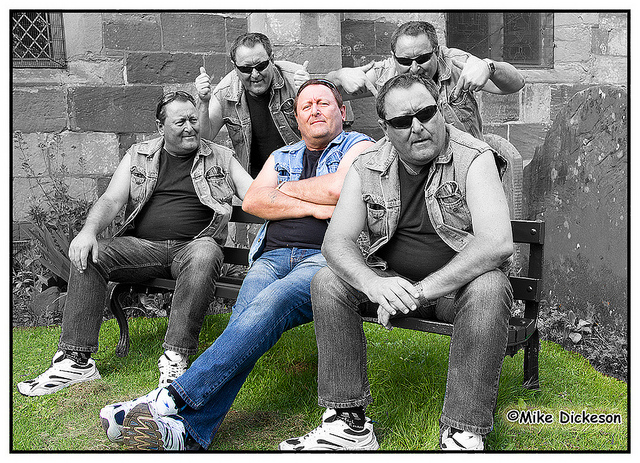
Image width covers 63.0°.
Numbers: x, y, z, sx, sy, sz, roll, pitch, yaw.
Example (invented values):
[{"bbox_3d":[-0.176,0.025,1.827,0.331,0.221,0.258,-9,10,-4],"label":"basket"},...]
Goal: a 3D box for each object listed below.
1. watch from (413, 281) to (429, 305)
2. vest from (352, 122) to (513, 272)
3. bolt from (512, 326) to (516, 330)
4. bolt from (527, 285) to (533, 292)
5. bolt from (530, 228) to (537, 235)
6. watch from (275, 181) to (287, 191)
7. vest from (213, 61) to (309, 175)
[{"bbox_3d":[0.537,0.335,2.840,0.041,0.113,0.082,-11,-7,-5],"label":"watch"},{"bbox_3d":[0.619,-0.168,2.997,0.924,0.930,0.528,-1,7,26],"label":"vest"},{"bbox_3d":[1.130,0.561,3.051,0.008,0.011,0.023,-2,-1,-21],"label":"bolt"},{"bbox_3d":[1.290,0.354,3.223,0.031,0.038,0.031,2,9,17],"label":"bolt"},{"bbox_3d":[1.341,0.003,3.297,0.031,0.037,0.031,4,-14,2],"label":"bolt"},{"bbox_3d":[-0.283,-0.330,3.785,0.073,0.061,0.114,3,6,-3],"label":"watch"},{"bbox_3d":[-0.486,-0.958,4.444,0.790,0.962,0.522,-13,27,3],"label":"vest"}]
